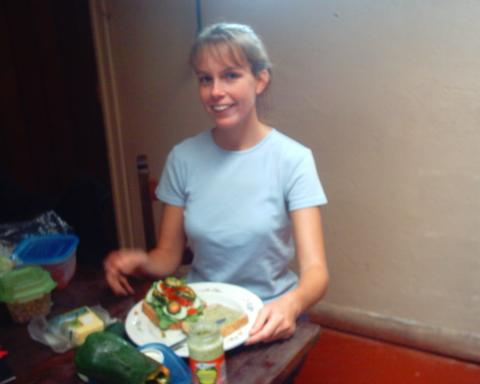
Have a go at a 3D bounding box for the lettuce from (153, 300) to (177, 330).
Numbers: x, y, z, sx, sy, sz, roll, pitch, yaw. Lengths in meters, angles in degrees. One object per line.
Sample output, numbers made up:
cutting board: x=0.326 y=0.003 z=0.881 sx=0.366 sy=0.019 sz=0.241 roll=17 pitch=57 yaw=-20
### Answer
lettuce: x=-0.280 y=0.437 z=1.436 sx=0.056 sy=0.053 sz=0.102 roll=-19 pitch=31 yaw=-35

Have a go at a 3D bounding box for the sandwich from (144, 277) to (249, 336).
sandwich: x=-0.182 y=0.430 z=1.458 sx=0.247 sy=0.084 sz=0.184 roll=27 pitch=25 yaw=14
